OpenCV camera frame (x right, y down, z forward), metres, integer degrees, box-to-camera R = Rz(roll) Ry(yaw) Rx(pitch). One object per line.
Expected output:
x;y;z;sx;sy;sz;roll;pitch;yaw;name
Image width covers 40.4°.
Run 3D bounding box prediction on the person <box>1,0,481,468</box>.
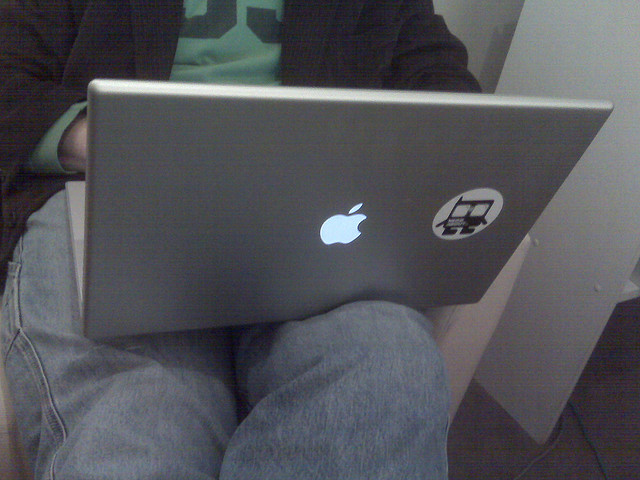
-0.170;0.015;1.583;0.770;0.795;0.600;3;35;-16;person
